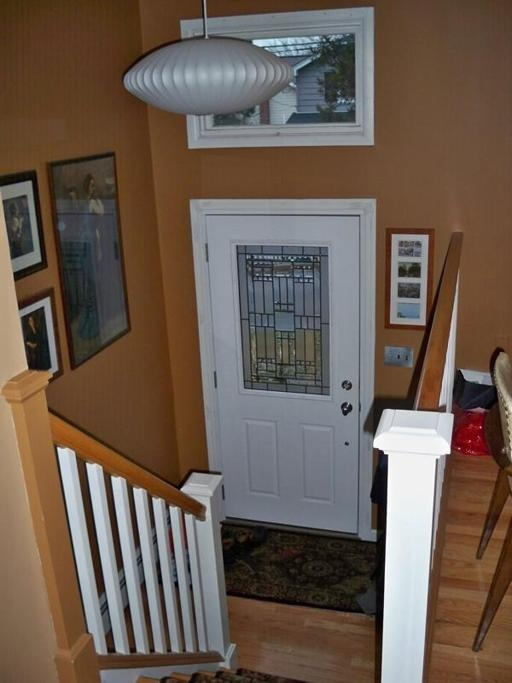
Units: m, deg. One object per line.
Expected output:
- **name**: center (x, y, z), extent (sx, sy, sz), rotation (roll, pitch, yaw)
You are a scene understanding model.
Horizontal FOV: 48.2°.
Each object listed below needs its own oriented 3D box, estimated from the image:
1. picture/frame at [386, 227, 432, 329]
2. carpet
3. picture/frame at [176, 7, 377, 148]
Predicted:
- **picture/frame**: center (0.909, -0.377, 3.409), extent (0.296, 0.030, 0.737), rotation (4, 66, 10)
- **carpet**: center (0.243, 1.423, 3.681), extent (1.102, 0.049, 0.771), rotation (1, 13, 18)
- **picture/frame**: center (0.166, -1.336, 2.831), extent (1.100, 0.850, 0.048), rotation (2, 23, 10)
